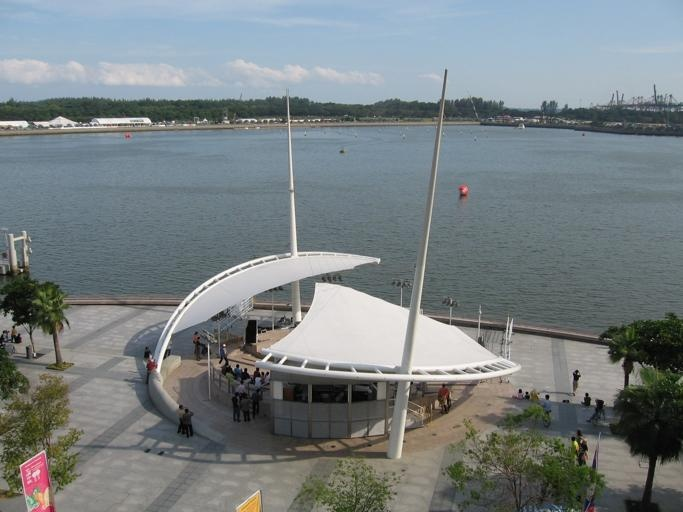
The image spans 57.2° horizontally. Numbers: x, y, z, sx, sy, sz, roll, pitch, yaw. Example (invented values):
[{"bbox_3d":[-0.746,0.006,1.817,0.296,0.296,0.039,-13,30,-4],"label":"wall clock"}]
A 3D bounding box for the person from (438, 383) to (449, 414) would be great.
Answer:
[{"bbox_3d":[6.362,8.995,39.516,0.730,1.562,0.743,9,15,35],"label":"person"}]

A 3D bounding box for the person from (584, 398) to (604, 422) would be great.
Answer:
[{"bbox_3d":[15.620,9.284,38.445,0.769,1.386,1.721,7,14,29],"label":"person"}]

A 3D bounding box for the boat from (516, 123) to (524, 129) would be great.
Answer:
[{"bbox_3d":[121.423,-88.599,425.874,4.428,3.576,10.599,3,12,11],"label":"boat"}]

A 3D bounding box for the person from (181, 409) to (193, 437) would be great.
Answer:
[{"bbox_3d":[-8.935,9.709,36.419,0.502,1.308,0.830,-9,16,-39],"label":"person"}]

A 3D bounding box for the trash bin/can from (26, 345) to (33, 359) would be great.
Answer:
[{"bbox_3d":[-22.740,6.990,45.816,0.372,0.913,0.244,-6,14,-26],"label":"trash bin/can"}]

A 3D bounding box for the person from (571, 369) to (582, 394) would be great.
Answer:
[{"bbox_3d":[15.813,8.540,42.517,0.765,2.077,0.723,0,23,14],"label":"person"}]
